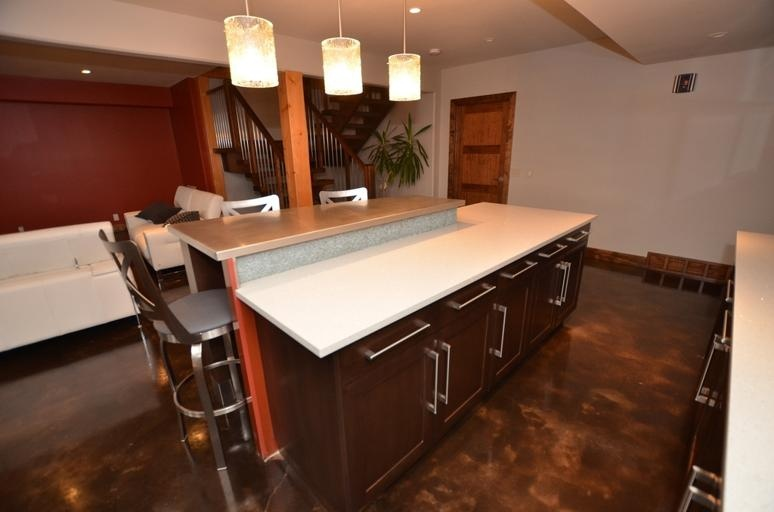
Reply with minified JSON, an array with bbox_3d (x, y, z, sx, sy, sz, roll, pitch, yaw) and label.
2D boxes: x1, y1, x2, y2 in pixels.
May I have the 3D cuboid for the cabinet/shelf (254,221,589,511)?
[{"bbox_3d":[0.364,0.950,4.190,2.509,1.694,0.661,-12,18,-28],"label":"cabinet/shelf"}]

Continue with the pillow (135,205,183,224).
[{"bbox_3d":[-3.536,-0.646,7.479,0.621,0.167,0.408,10,33,41],"label":"pillow"}]

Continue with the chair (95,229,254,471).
[{"bbox_3d":[-1.918,0.929,4.336,0.959,2.575,1.098,25,37,34],"label":"chair"}]

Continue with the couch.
[{"bbox_3d":[-2.631,-0.278,5.942,0.778,0.889,1.396,-13,27,-38],"label":"couch"}]

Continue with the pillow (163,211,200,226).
[{"bbox_3d":[-2.896,-0.561,6.826,0.440,0.126,0.714,-9,17,-18],"label":"pillow"}]

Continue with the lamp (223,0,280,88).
[{"bbox_3d":[-1.191,-1.810,4.211,0.390,0.596,0.239,-9,17,-18],"label":"lamp"}]
